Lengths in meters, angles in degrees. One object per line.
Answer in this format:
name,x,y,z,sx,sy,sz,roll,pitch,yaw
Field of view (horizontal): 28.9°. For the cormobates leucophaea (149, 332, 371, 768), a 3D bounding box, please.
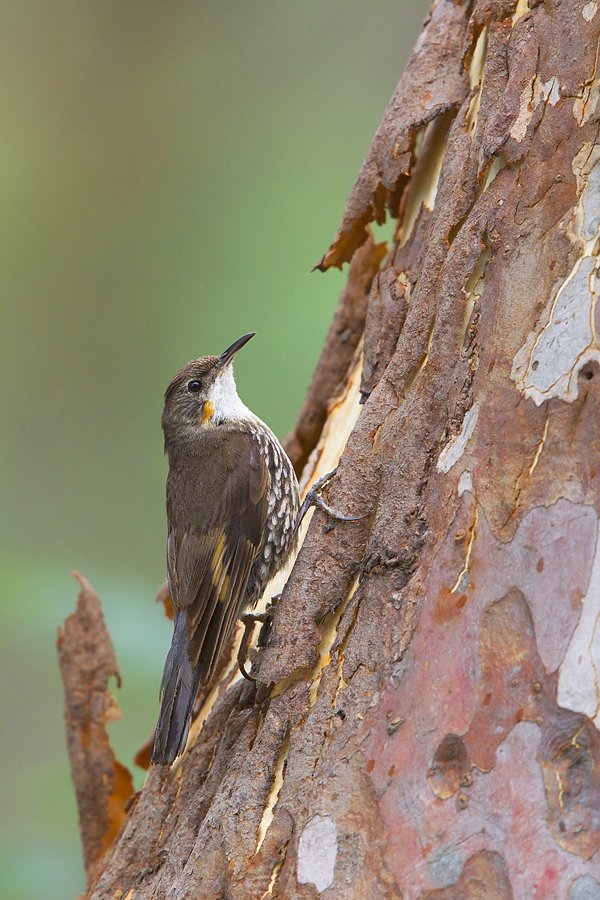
cormobates leucophaea,-0.242,0.291,3.368,0.583,1.253,0.425,-21,-35,-1
